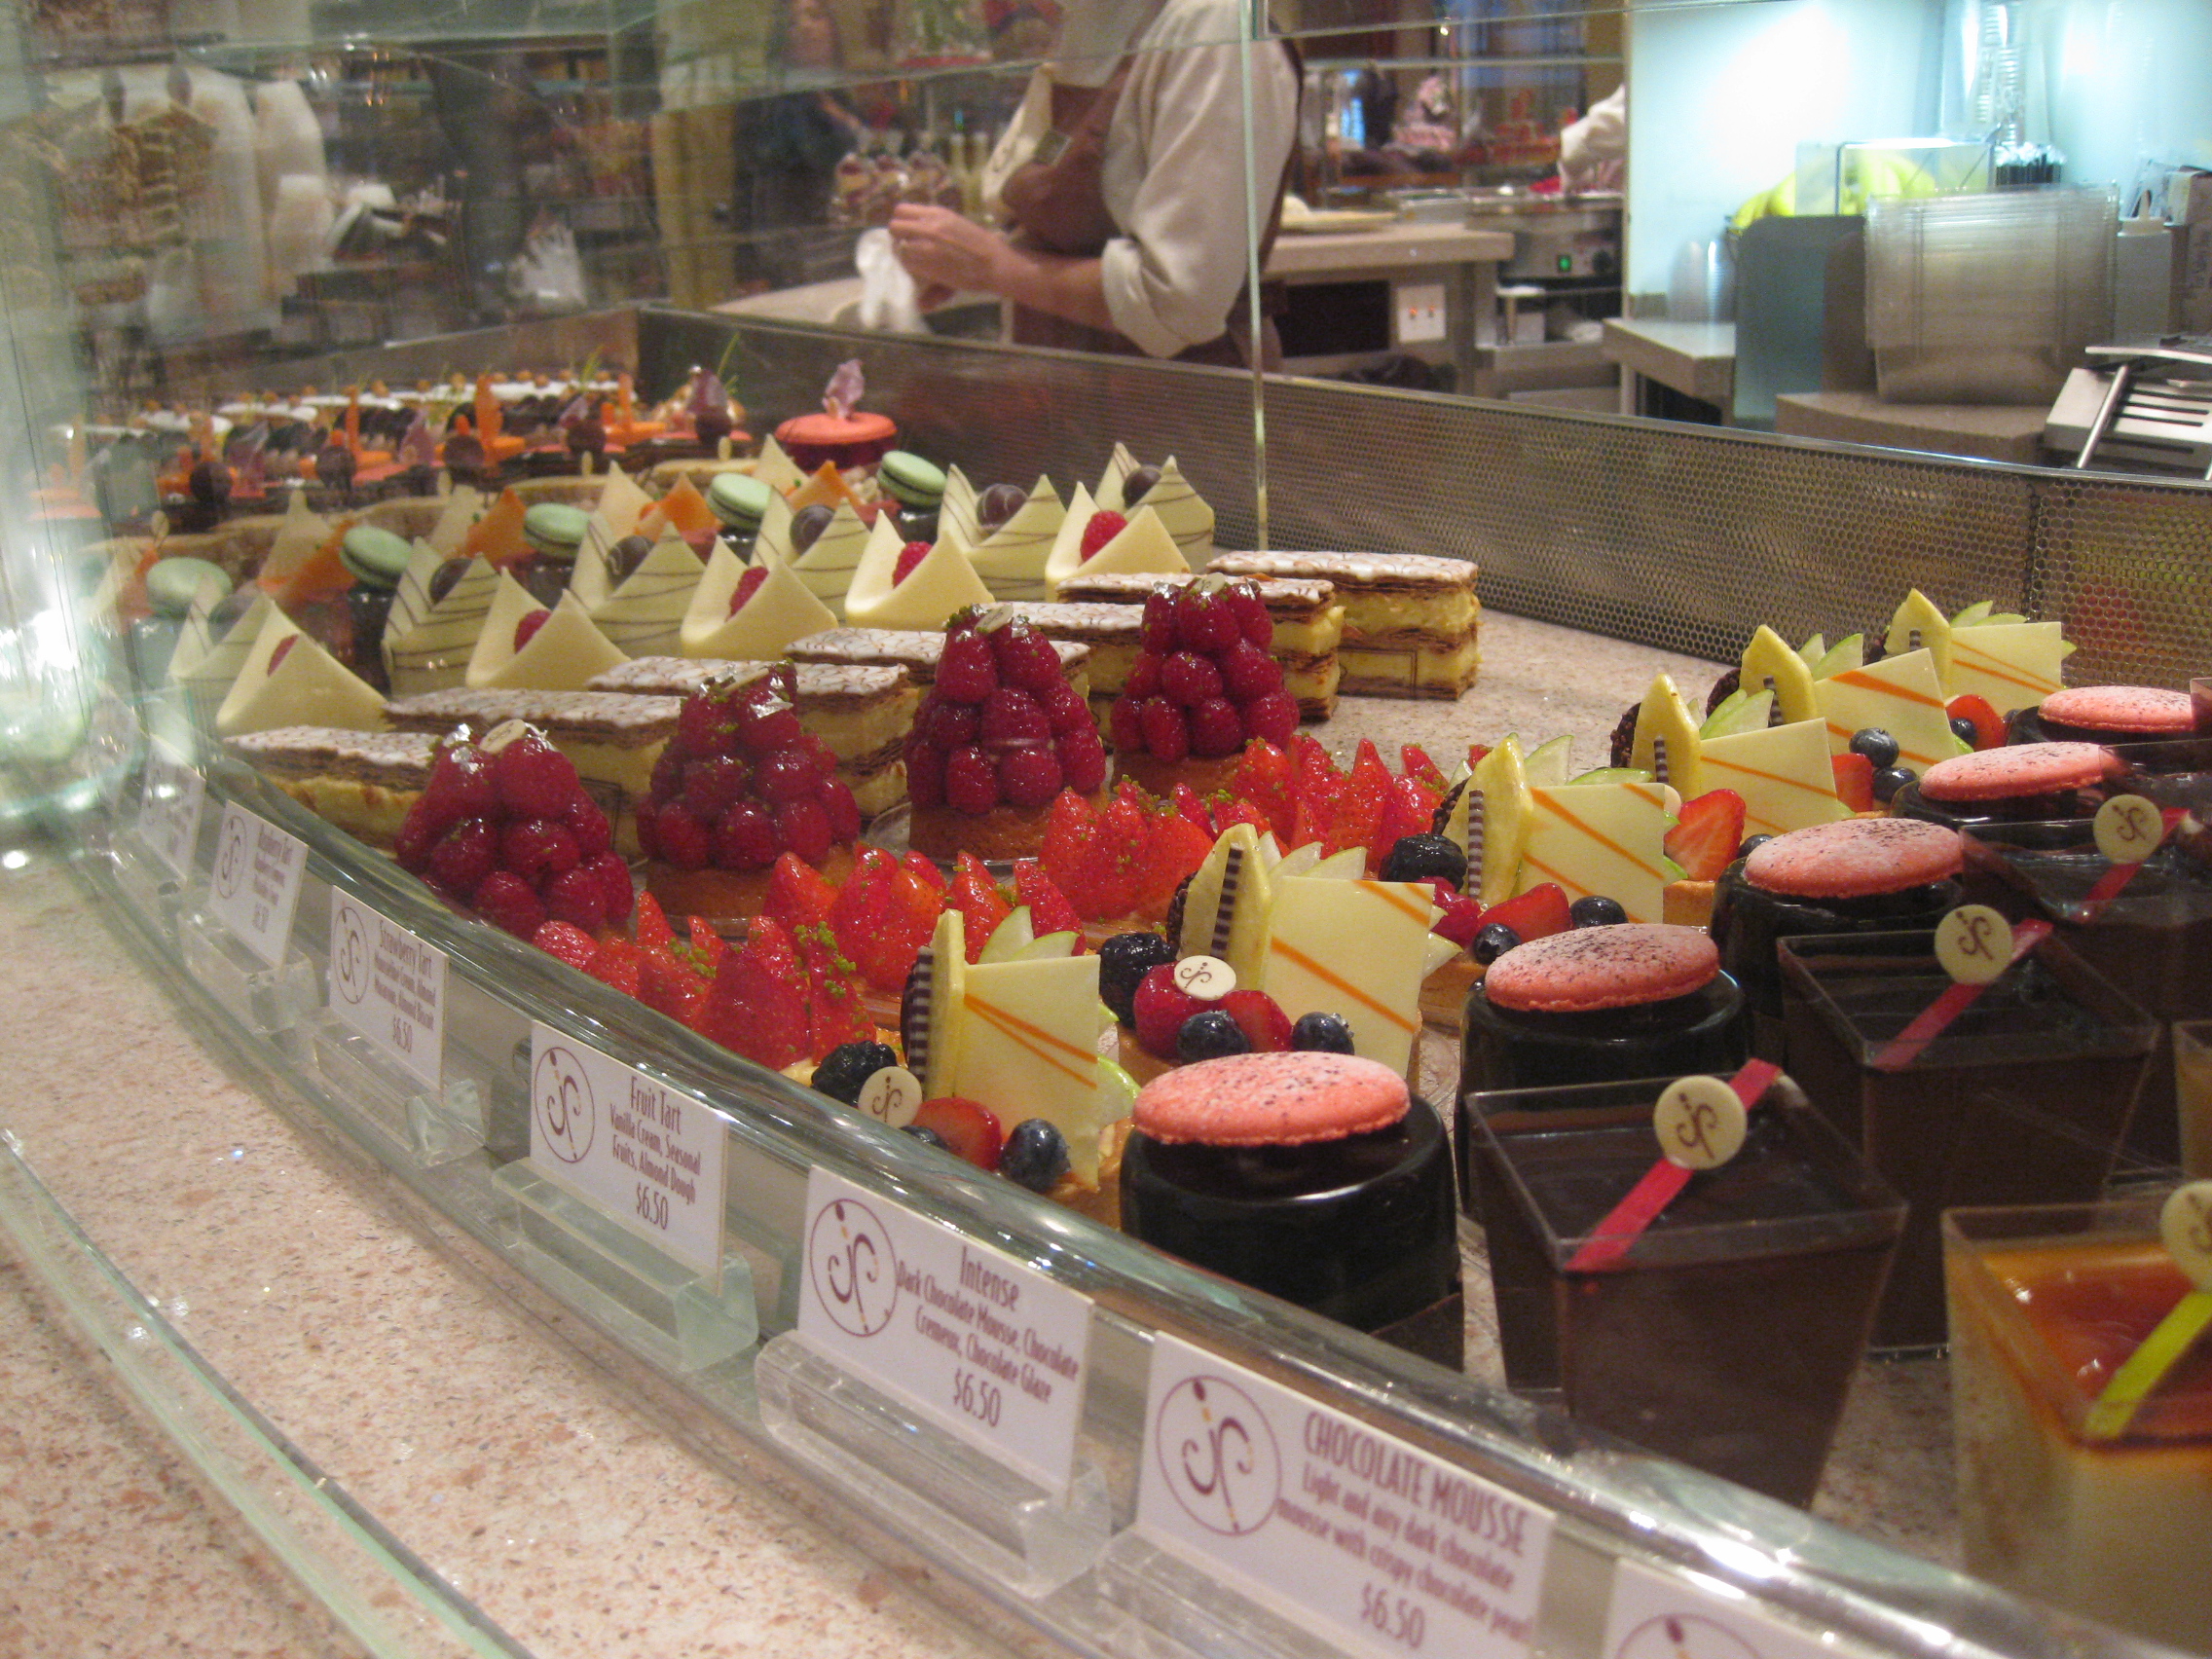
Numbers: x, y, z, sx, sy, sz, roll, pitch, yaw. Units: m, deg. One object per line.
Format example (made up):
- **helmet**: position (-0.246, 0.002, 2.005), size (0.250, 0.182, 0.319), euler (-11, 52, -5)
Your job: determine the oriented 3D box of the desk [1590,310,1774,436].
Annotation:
- **desk**: position (1.382, -1.128, 4.077), size (0.382, 0.302, 0.634), euler (-2, 14, 2)
